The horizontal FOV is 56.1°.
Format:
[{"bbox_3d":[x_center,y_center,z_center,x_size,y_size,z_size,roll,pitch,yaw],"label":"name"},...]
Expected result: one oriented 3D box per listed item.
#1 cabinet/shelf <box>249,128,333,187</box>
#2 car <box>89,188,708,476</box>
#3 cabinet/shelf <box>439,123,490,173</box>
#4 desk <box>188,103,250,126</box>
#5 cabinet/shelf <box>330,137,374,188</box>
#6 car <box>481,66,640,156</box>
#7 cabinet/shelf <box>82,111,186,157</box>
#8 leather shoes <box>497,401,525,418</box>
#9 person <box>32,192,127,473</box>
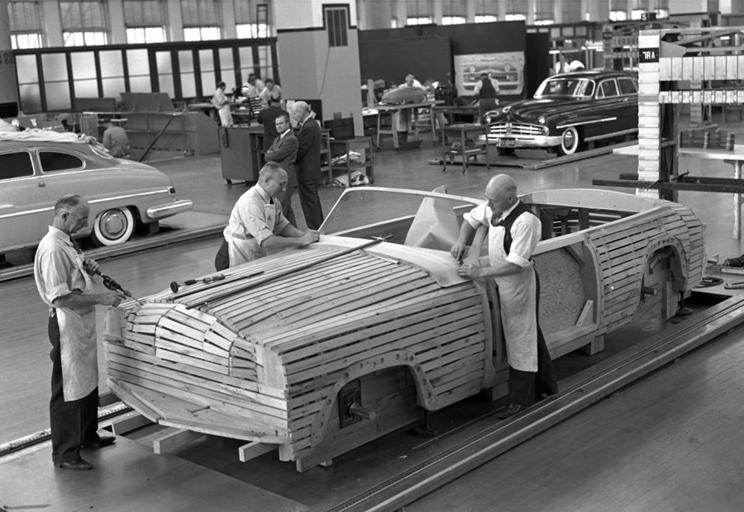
[{"bbox_3d":[-1.339,-1.802,12.056,1.000,1.023,0.769,-25,21,-40],"label":"cabinet/shelf"},{"bbox_3d":[0.834,0.625,6.970,5.670,1.940,2.567,-20,22,-33],"label":"car"},{"bbox_3d":[2.674,-2.838,18.307,0.723,0.986,1.018,-8,7,5],"label":"cabinet/shelf"},{"bbox_3d":[-4.963,-4.584,22.564,1.616,0.693,1.766,-8,15,-40],"label":"desk"},{"bbox_3d":[-0.600,-2.366,17.233,0.885,1.077,1.096,-14,17,-39],"label":"cabinet/shelf"},{"bbox_3d":[5.377,-3.945,19.120,2.155,1.810,5.371,7,15,42],"label":"car"},{"bbox_3d":[-7.064,-3.699,20.993,2.833,1.684,0.892,7,28,17],"label":"cabinet/shelf"},{"bbox_3d":[1.220,1.371,6.143,0.226,0.087,0.111,-26,24,-29],"label":"leather shoes"},{"bbox_3d":[-2.462,0.625,5.730,0.684,2.167,0.629,-10,16,-23],"label":"person"}]
